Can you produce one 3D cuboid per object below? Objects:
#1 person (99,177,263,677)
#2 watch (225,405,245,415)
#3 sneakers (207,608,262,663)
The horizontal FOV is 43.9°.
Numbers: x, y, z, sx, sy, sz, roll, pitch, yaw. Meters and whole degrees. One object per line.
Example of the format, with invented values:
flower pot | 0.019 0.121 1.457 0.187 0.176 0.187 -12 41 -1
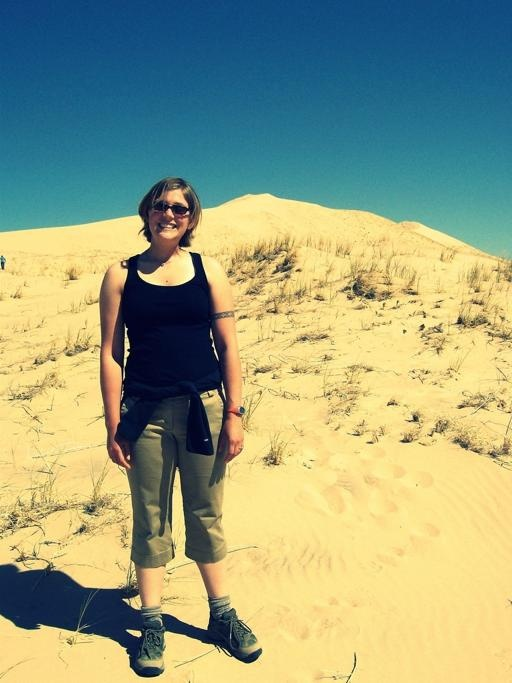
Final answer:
person | -0.361 0.553 2.997 0.720 1.915 0.455 0 10 -14
watch | -0.094 0.323 3.009 0.060 0.031 0.055 -9 -16 28
sneakers | -0.110 1.404 3.088 0.155 0.136 0.312 3 1 -45
